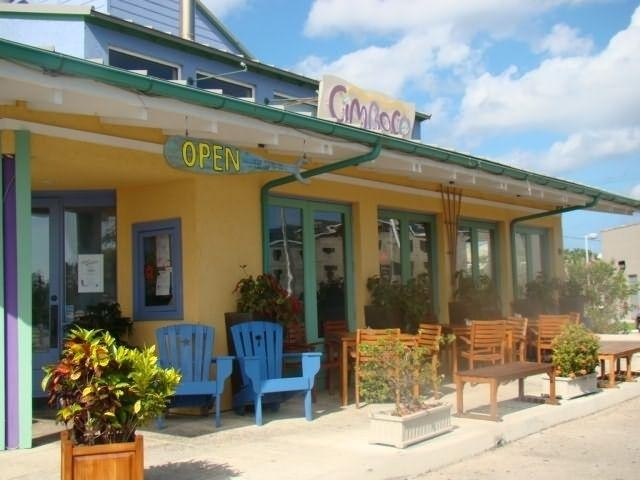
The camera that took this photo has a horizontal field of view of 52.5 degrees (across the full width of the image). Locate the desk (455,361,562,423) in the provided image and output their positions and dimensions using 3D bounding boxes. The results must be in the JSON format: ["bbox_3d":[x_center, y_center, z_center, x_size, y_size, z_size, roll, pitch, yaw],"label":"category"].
[{"bbox_3d":[2.448,1.946,8.578,0.814,0.691,1.711,-1,0,44],"label":"desk"}]

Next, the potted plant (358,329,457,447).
[{"bbox_3d":[1.004,1.752,7.727,0.960,1.586,1.462,-4,-3,38],"label":"potted plant"}]

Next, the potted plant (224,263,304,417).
[{"bbox_3d":[-1.095,1.290,9.378,1.396,1.909,1.244,6,-12,-43],"label":"potted plant"}]

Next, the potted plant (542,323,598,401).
[{"bbox_3d":[3.601,1.585,9.685,0.782,1.316,1.260,-4,-4,36],"label":"potted plant"}]
